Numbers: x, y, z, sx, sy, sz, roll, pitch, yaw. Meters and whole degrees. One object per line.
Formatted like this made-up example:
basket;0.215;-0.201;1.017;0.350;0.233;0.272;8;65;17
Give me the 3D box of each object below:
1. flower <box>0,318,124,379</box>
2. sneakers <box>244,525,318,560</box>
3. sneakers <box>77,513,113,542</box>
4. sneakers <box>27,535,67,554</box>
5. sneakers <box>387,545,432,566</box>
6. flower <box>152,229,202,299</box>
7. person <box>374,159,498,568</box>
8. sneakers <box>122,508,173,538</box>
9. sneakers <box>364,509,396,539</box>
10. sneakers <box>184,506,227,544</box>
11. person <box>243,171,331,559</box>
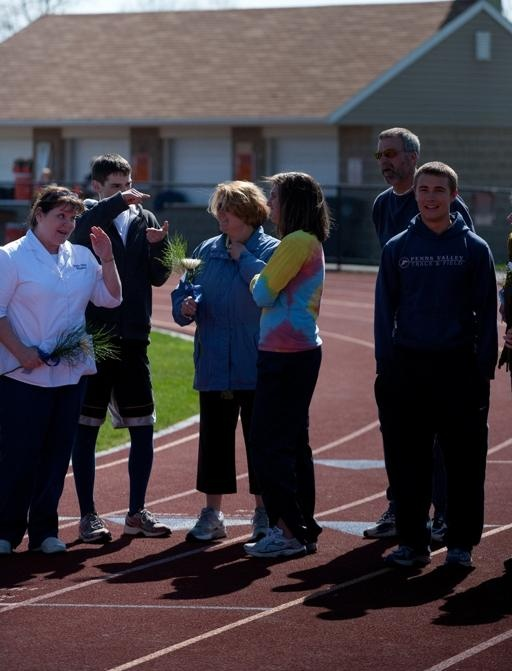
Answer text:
flower;-0.993;0.064;5.693;0.633;0.161;0.222;-10;-13;26
sneakers;0.132;1.078;5.739;0.365;0.158;0.133;1;-4;-9
sneakers;-0.851;1.039;5.945;0.095;0.098;0.219;1;-9;-28
sneakers;-1.084;1.082;5.763;0.204;0.080;0.075;-10;-11;30
sneakers;0.748;1.074;5.436;0.221;0.096;0.091;3;-1;-18
flower;-0.473;-0.402;6.199;0.189;0.318;0.199;-4;14;-25
person;0.872;0.150;5.355;0.576;1.957;0.355;0;5;5
sneakers;-0.598;1.044;6.155;0.286;0.134;0.111;0;0;14
sneakers;0.645;1.034;6.047;0.265;0.148;0.101;-2;-3;0
sneakers;-0.252;1.040;6.020;0.108;0.153;0.278;-5;-7;35
person;0.157;0.153;5.670;0.342;1.958;0.478;3;6;33
